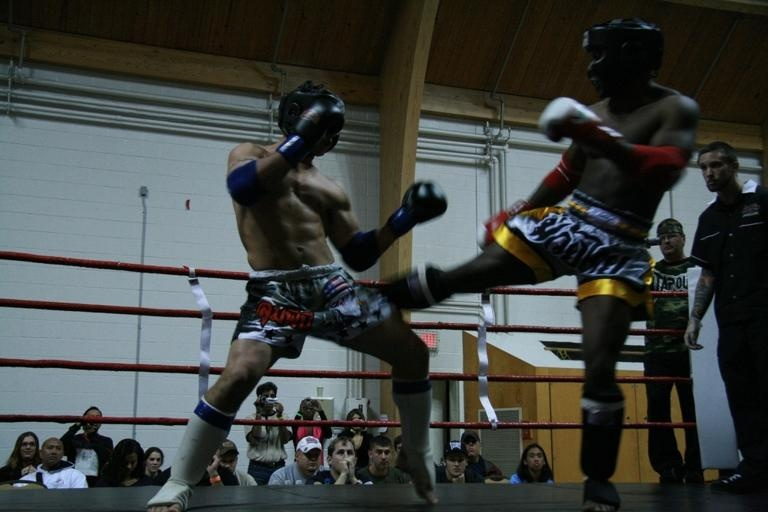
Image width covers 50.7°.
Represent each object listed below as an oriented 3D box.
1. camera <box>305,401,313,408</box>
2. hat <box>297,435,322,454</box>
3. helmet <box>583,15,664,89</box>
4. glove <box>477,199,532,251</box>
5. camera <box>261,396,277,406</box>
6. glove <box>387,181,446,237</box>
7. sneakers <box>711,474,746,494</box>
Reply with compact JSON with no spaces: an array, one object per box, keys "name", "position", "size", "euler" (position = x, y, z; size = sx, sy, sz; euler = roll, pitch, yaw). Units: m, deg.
[{"name":"camera","position":[-0.732,1.476,8.010],"size":[0.056,0.069,0.021],"euler":[3,1,-13]},{"name":"hat","position":[-0.636,1.585,6.841],"size":[0.130,0.086,0.167],"euler":[6,-17,-22]},{"name":"helmet","position":[1.423,-1.186,4.916],"size":[0.467,0.407,0.400],"euler":[2,-6,8]},{"name":"glove","position":[0.716,-0.226,4.998],"size":[0.155,0.468,0.193],"euler":[36,-27,36]},{"name":"camera","position":[-1.040,1.325,7.384],"size":[0.115,0.046,0.143],"euler":[0,-1,0]},{"name":"glove","position":[0.234,-0.304,5.360],"size":[0.475,0.247,0.190],"euler":[-34,-21,11]},{"name":"sneakers","position":[2.278,1.497,5.335],"size":[0.213,0.122,0.126],"euler":[-5,-13,23]}]
